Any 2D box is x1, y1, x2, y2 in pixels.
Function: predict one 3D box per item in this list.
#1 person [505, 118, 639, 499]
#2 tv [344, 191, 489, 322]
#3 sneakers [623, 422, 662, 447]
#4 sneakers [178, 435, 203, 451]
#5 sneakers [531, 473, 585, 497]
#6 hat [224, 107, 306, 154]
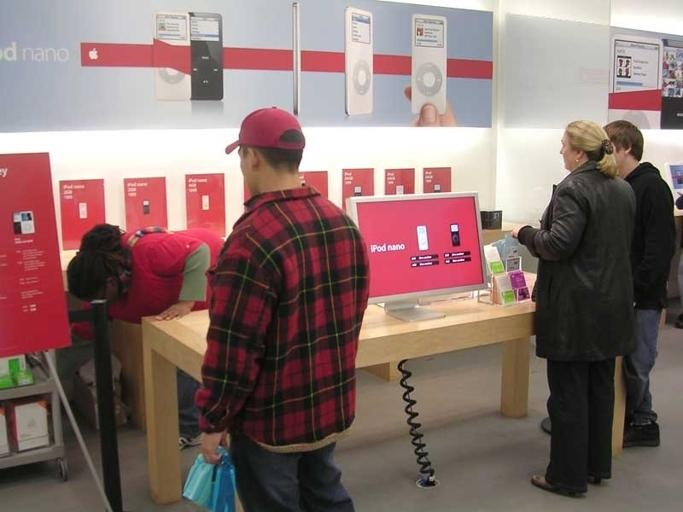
[{"bbox_3d":[1.256,0.300,2.893,0.580,2.000,0.324,-2,9,-10],"label":"person"},{"bbox_3d":[0.414,0.003,2.904,0.735,0.657,0.227,-4,6,-21],"label":"tv"},{"bbox_3d":[1.906,1.128,3.480,0.280,0.142,0.114,2,0,-21],"label":"sneakers"},{"bbox_3d":[-0.968,1.189,3.485,0.053,0.077,0.163,0,-1,36],"label":"sneakers"},{"bbox_3d":[1.194,1.251,3.026,0.273,0.137,0.096,-3,2,37],"label":"sneakers"},{"bbox_3d":[-0.268,-0.455,1.918,0.288,0.180,0.216,11,16,37],"label":"hat"}]
